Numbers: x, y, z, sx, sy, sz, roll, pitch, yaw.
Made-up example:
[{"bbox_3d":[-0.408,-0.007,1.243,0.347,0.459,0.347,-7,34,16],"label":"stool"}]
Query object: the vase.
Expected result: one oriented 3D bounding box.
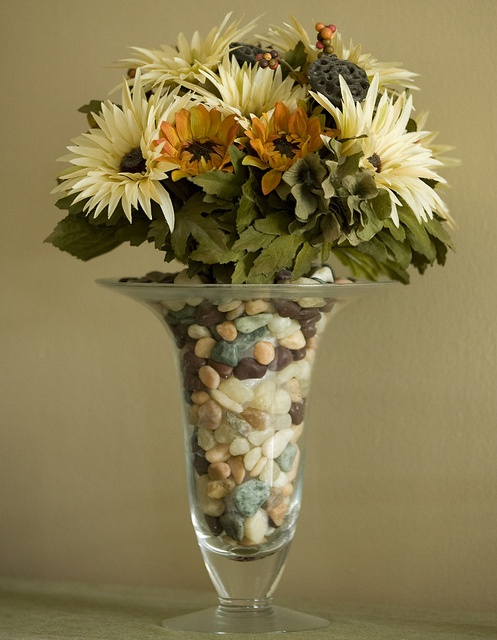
[{"bbox_3d":[0.046,0.134,0.805,0.387,0.335,0.333,0,-2,-11],"label":"vase"}]
